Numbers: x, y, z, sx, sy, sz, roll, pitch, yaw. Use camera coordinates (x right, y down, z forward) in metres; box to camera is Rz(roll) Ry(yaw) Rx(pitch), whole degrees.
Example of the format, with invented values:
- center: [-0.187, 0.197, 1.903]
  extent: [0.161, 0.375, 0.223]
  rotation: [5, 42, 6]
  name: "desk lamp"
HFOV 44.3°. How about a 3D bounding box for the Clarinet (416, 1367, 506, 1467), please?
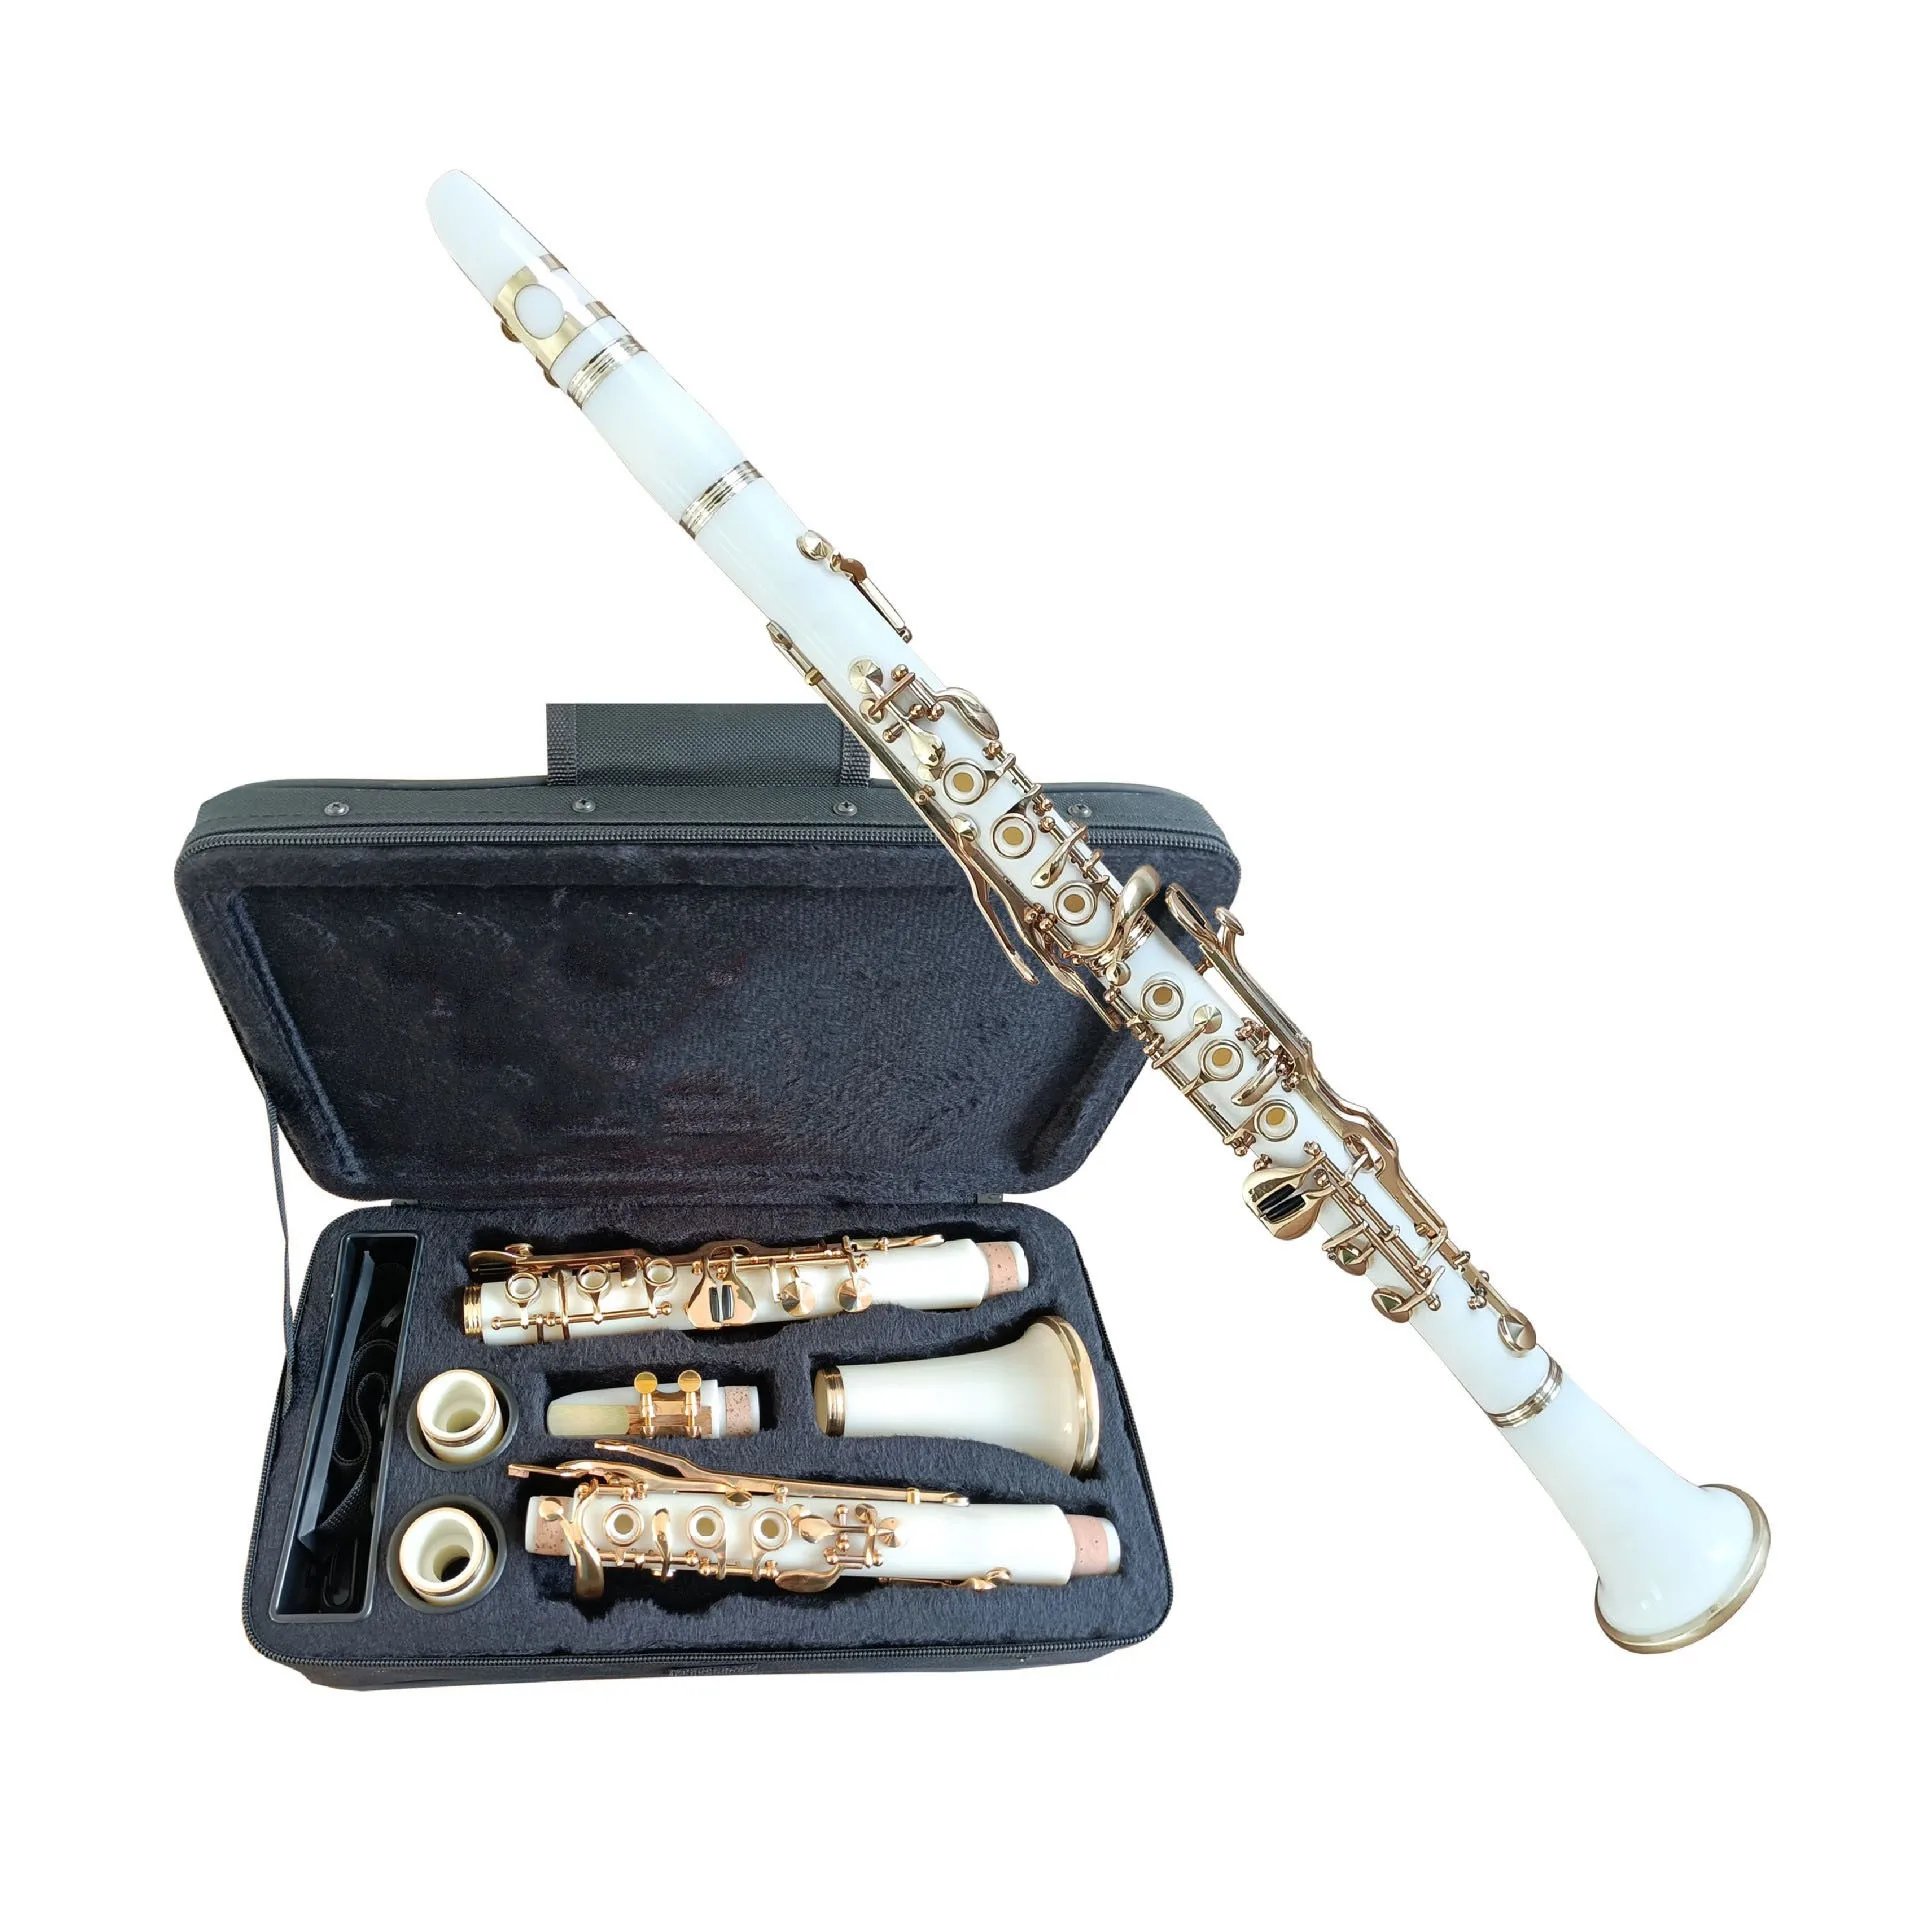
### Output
- center: [-1.045, 0.965, 5.021]
  extent: [0.186, 0.177, 0.176]
  rotation: [-9, -22, -16]
  name: "Clarinet"
